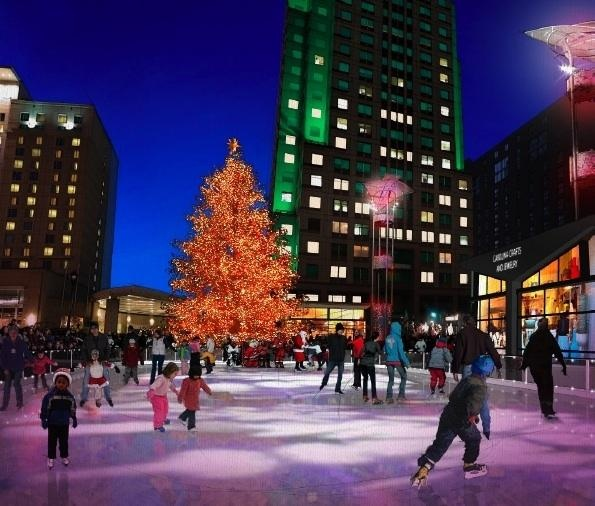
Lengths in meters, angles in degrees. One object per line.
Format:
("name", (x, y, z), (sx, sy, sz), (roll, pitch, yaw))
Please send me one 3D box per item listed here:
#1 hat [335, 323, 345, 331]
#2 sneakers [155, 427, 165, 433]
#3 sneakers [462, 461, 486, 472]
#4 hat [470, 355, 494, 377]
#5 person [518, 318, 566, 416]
("hat", (1.248, 2.137, 15.578), (0.202, 0.288, 0.269), (4, 5, 11))
("sneakers", (-2.539, 3.256, 9.899), (0.225, 0.111, 0.080), (1, -2, 7))
("sneakers", (2.335, 2.766, 6.984), (0.343, 0.171, 0.122), (-1, -11, -11))
("hat", (2.452, 1.500, 7.142), (0.259, 0.289, 0.537), (-8, -15, 40))
("person", (5.571, 2.574, 12.136), (0.837, 2.204, 0.756), (-4, -11, 24))
